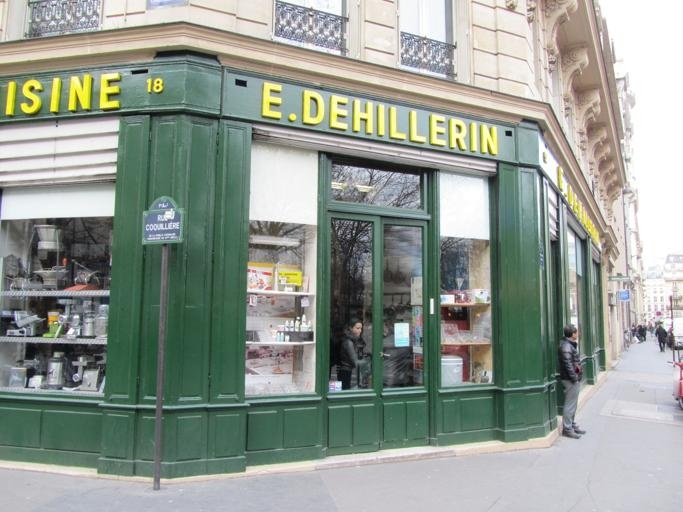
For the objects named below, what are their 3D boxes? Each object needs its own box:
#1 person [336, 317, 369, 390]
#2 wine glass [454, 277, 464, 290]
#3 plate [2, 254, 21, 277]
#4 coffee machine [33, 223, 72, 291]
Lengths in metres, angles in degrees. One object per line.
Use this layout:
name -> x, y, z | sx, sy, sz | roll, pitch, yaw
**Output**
person -> 0.164, 1.571, 10.059 | 0.373, 1.108, 0.472 | 2, 2, -20
wine glass -> 2.102, 0.503, 11.026 | 0.179, 0.257, 0.178 | 11, -15, -31
plate -> -5.170, 0.157, 9.705 | 0.323, 0.308, 0.050 | 2, -2, 12
coffee machine -> -4.479, -0.015, 9.646 | 0.314, 1.107, 0.467 | -2, 2, 0
